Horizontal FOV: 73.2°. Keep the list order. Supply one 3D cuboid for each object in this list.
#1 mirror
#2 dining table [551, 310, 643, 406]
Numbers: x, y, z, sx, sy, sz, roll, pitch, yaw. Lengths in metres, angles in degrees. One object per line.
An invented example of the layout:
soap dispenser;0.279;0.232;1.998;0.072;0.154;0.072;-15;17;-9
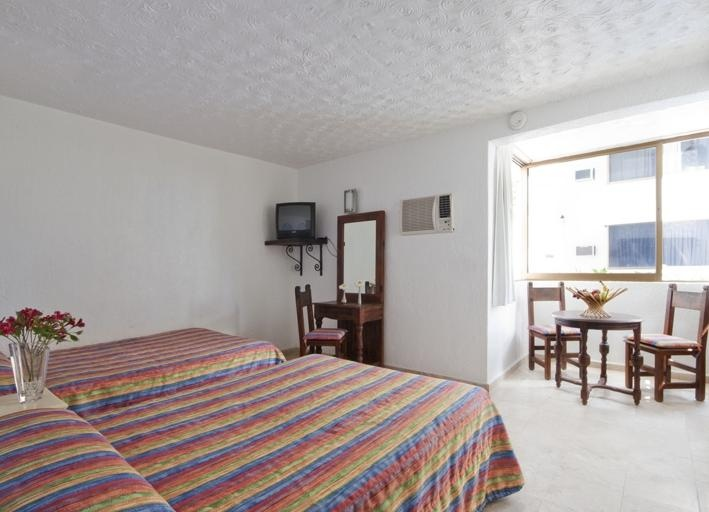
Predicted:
mirror;0.067;0.006;5.762;0.723;1.077;0.157;2;2;43
dining table;2.340;0.998;4.840;0.854;0.915;0.943;2;-3;-14
